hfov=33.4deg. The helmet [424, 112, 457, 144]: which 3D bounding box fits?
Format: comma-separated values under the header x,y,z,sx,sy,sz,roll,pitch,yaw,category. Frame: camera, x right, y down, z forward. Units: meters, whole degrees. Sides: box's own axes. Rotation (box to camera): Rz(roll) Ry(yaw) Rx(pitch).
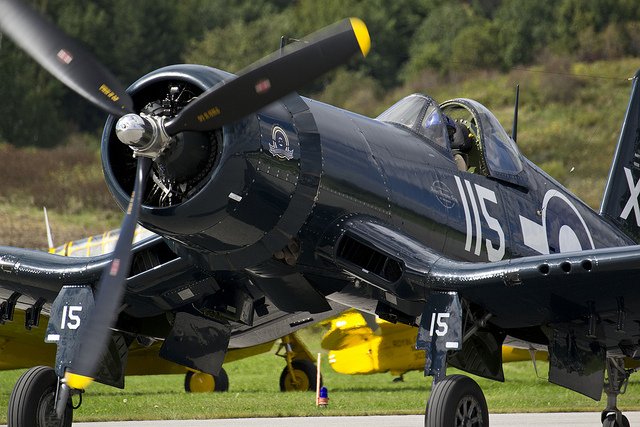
x,y,z,sx,sy,sz,roll,pitch,yaw,category
2.044,-1.531,18.907,0.447,0.512,0.616,12,-5,40,helmet
